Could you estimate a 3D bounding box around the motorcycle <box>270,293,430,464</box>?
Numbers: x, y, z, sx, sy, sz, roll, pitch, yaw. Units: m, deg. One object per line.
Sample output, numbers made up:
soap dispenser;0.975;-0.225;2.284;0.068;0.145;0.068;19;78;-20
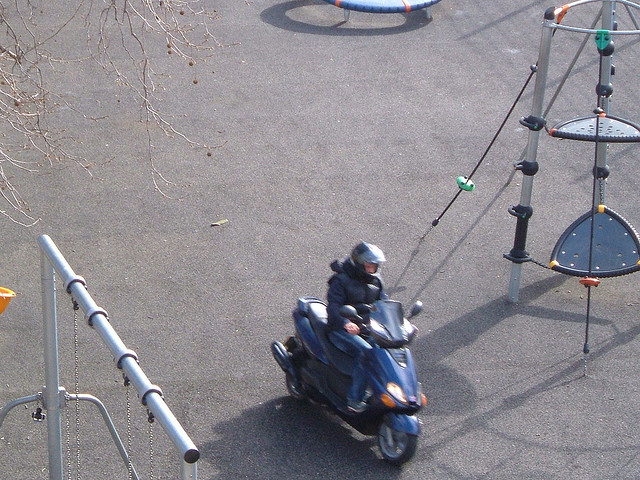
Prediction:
motorcycle;0.478;1.644;17.299;1.918;2.010;0.768;10;29;38
